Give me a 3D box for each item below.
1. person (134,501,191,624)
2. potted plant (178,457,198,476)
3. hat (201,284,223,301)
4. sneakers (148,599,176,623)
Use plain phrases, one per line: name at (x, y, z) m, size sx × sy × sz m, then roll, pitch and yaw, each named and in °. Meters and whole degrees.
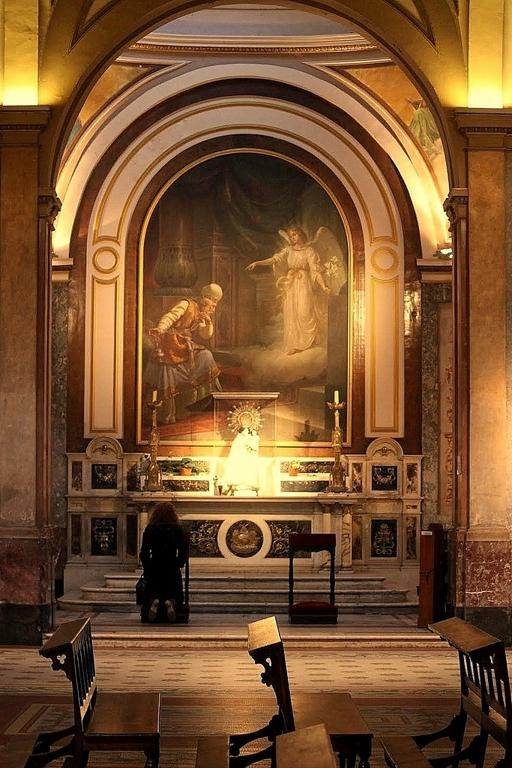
person at (-0.939, 1.781, 8.855) m, size 0.522 × 1.196 × 0.532 m, roll -1°, pitch -3°, yaw -2°
potted plant at (-0.901, 1.084, 11.620) m, size 0.229 × 0.213 × 0.224 m, roll 0°, pitch -11°, yaw 1°
hat at (-0.598, -1.272, 12.112) m, size 0.276 × 0.234 × 0.201 m, roll 13°, pitch 13°, yaw 11°
sneakers at (-0.925, 2.205, 8.668) m, size 0.212 × 0.275 × 0.094 m, roll 1°, pitch -2°, yaw -4°
